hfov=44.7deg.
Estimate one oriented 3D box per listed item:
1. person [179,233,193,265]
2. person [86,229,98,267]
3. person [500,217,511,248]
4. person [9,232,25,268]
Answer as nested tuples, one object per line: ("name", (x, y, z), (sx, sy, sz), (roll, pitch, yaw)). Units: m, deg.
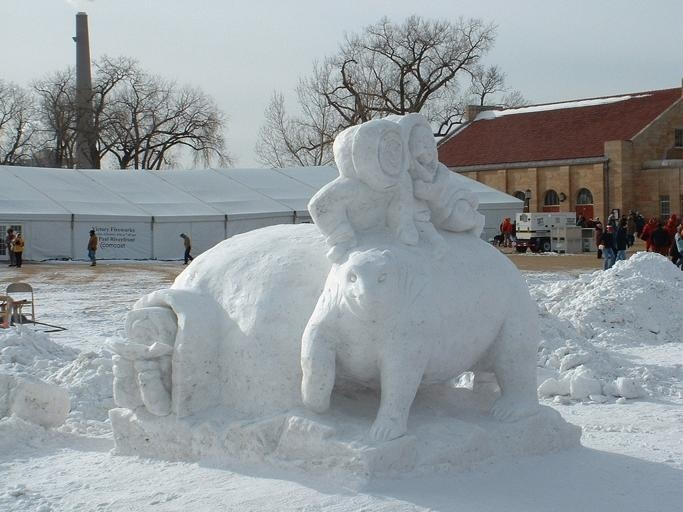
("person", (-4.803, -0.240, 25.752), (0.374, 0.912, 2.524), (-1, 3, -11))
("person", (-7.366, -0.261, 24.703), (0.243, 1.022, 1.797), (-1, 3, -16))
("person", (6.076, -0.863, 30.688), (0.369, 1.113, 1.465), (1, 3, 11))
("person", (-9.188, -0.192, 23.558), (0.351, 0.926, 2.073), (-1, 3, -22))
